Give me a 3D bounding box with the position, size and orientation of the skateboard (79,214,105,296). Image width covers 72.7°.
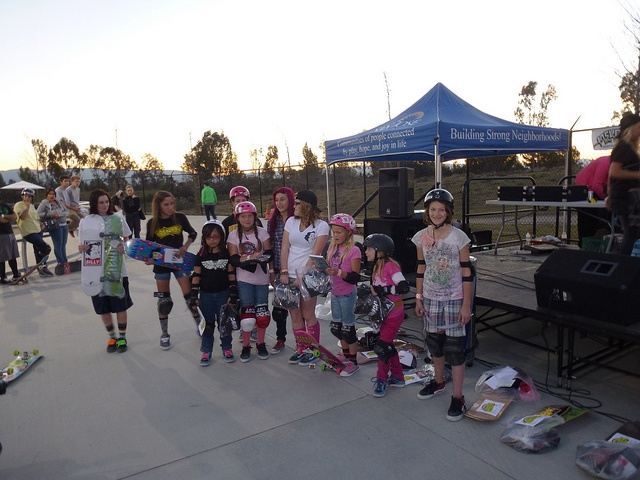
[{"bbox_3d":[-2.961,0.167,5.637,0.282,1.193,0.164,-1,-13,-14],"label":"skateboard"}]

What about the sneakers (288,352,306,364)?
[{"bbox_3d":[-0.292,1.450,5.439,0.082,0.108,0.232,-1,-3,37],"label":"sneakers"}]

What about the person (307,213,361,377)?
[{"bbox_3d":[0.270,0.623,5.088,0.376,1.851,0.419,-1,11,4],"label":"person"}]

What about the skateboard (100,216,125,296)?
[{"bbox_3d":[-2.718,0.152,5.696,0.239,1.149,0.172,-1,-6,-9],"label":"skateboard"}]

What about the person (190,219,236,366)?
[{"bbox_3d":[-1.309,0.643,5.401,0.557,1.756,0.498,-3,12,-7],"label":"person"}]

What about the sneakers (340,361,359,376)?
[{"bbox_3d":[0.342,1.501,5.111,0.095,0.112,0.249,8,9,39],"label":"sneakers"}]

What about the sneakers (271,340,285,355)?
[{"bbox_3d":[-0.563,1.389,5.732,0.078,0.112,0.246,1,1,21],"label":"sneakers"}]

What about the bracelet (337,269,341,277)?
[{"bbox_3d":[0.212,0.359,4.857,0.049,0.044,0.053,-2,12,-1],"label":"bracelet"}]

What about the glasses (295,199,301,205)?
[{"bbox_3d":[-0.269,-0.473,5.231,0.057,0.049,0.049,0,3,-23],"label":"glasses"}]

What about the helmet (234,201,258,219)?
[{"bbox_3d":[-0.928,-0.416,5.375,0.154,0.243,0.181,1,11,-6],"label":"helmet"}]

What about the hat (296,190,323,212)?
[{"bbox_3d":[-0.127,-0.538,5.270,0.286,0.172,0.220,24,9,-6],"label":"hat"}]

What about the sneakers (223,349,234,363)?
[{"bbox_3d":[-1.156,1.444,5.490,0.076,0.092,0.219,-1,22,-16],"label":"sneakers"}]

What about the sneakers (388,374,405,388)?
[{"bbox_3d":[0.844,1.547,4.884,0.217,0.108,0.086,5,9,25],"label":"sneakers"}]

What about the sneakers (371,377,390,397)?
[{"bbox_3d":[0.677,1.571,4.724,0.280,0.153,0.114,-13,17,-41],"label":"sneakers"}]

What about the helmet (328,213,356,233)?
[{"bbox_3d":[0.261,-0.189,5.091,0.251,0.215,0.198,-9,22,-34],"label":"helmet"}]

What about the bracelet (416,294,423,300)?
[{"bbox_3d":[1.020,0.572,4.500,0.051,0.037,0.050,8,-3,-43],"label":"bracelet"}]

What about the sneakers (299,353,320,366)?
[{"bbox_3d":[-0.135,1.452,5.389,0.282,0.126,0.102,5,-6,-36],"label":"sneakers"}]

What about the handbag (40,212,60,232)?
[{"bbox_3d":[-6.242,-0.458,10.016,0.295,0.450,0.204,-9,32,-16],"label":"handbag"}]

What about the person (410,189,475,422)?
[{"bbox_3d":[1.244,0.588,4.370,0.408,2.162,0.703,-8,13,-28],"label":"person"}]

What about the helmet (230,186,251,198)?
[{"bbox_3d":[-1.090,-0.650,5.876,0.230,0.164,0.311,-5,14,-15],"label":"helmet"}]

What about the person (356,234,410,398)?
[{"bbox_3d":[0.729,0.787,4.752,0.435,1.661,0.565,-1,12,0],"label":"person"}]

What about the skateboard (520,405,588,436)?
[{"bbox_3d":[2.199,1.666,4.151,0.796,0.099,0.288,-9,15,-26],"label":"skateboard"}]

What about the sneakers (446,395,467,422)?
[{"bbox_3d":[1.293,1.630,4.214,0.102,0.124,0.296,-3,-6,25],"label":"sneakers"}]

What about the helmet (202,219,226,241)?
[{"bbox_3d":[-1.322,-0.162,5.434,0.190,0.312,0.221,0,0,-3],"label":"helmet"}]
